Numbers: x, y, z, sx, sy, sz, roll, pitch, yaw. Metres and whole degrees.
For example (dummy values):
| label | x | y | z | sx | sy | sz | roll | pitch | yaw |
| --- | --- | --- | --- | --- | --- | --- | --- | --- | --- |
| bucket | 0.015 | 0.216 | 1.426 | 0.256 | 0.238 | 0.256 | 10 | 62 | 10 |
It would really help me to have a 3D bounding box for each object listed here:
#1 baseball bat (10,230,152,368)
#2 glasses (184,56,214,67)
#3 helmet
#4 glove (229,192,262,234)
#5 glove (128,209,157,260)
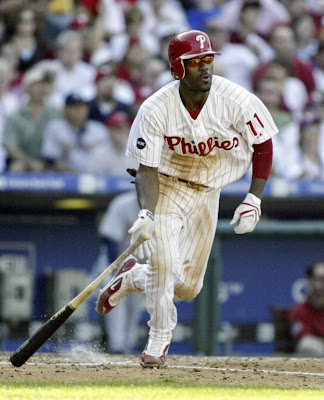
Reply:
| label | x | y | z | sx | sy | sz | roll | pitch | yaw |
| --- | --- | --- | --- | --- | --- | --- | --- | --- | --- |
| baseball bat | -0.596 | 0.757 | 5.860 | 1.447 | 0.124 | 0.194 | -41 | 76 | -10 |
| glasses | 0.204 | -0.702 | 4.046 | 0.163 | 0.061 | 0.067 | -9 | 22 | -25 |
| helmet | 0.145 | -0.749 | 4.152 | 0.222 | 0.203 | 0.291 | -6 | -1 | -28 |
| glove | 0.453 | 0.080 | 4.271 | 0.182 | 0.220 | 0.108 | 17 | 3 | -7 |
| glove | -0.102 | 0.182 | 4.137 | 0.129 | 0.316 | 0.239 | -1 | 21 | -2 |
